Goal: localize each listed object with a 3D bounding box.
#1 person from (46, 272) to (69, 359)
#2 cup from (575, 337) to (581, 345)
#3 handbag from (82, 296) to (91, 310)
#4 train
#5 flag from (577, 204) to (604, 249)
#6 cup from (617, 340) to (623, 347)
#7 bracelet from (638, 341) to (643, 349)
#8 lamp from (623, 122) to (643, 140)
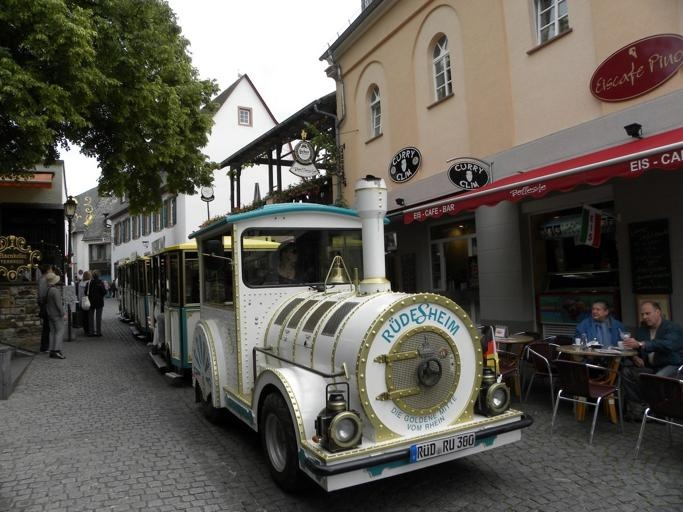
[{"bbox_3d":[-7.035,1.432,13.123,0.372,2.121,1.007,-4,5,-30],"label":"person"},{"bbox_3d":[3.745,1.332,8.474,0.077,0.094,0.074,1,-6,0],"label":"cup"},{"bbox_3d":[-8.044,1.432,16.825,0.220,0.457,0.640,-4,6,-28],"label":"handbag"},{"bbox_3d":[-0.061,0.821,6.797,2.454,3.636,4.279,-6,7,-44],"label":"train"},{"bbox_3d":[4.756,-0.596,10.184,0.696,0.826,0.081,8,-9,-32],"label":"flag"},{"bbox_3d":[4.209,1.308,8.087,0.065,0.066,0.067,1,-2,0],"label":"cup"},{"bbox_3d":[4.389,1.281,7.846,0.024,0.078,0.068,8,-4,-44],"label":"bracelet"},{"bbox_3d":[4.934,-2.093,9.079,0.259,0.293,0.267,11,-10,-17],"label":"lamp"}]
